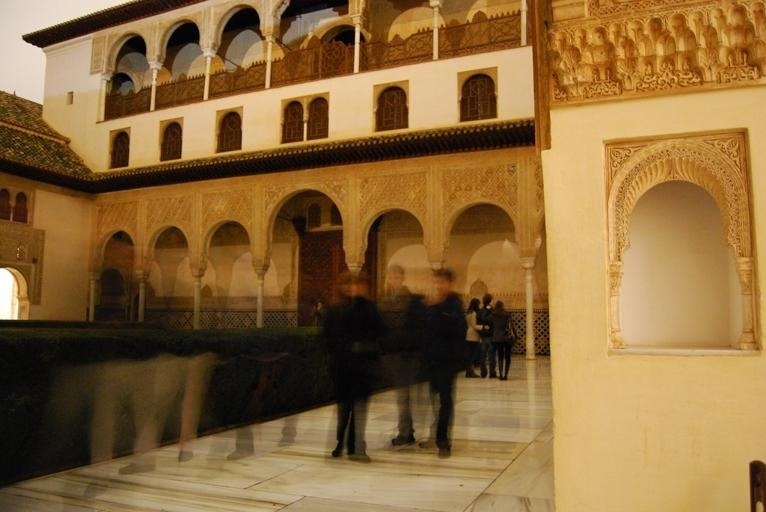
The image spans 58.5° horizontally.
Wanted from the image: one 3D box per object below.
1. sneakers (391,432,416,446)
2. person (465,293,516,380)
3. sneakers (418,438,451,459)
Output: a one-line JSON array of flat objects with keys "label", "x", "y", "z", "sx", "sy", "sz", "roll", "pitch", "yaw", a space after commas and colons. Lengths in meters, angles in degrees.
[{"label": "sneakers", "x": 0.190, "y": 1.796, "z": 6.733, "sx": 0.232, "sy": 0.165, "sz": 0.096, "roll": 15, "pitch": -21, "yaw": -22}, {"label": "person", "x": 1.775, "y": 1.306, "z": 11.227, "sx": 0.712, "sy": 1.228, "sz": 1.458, "roll": 0, "pitch": 0, "yaw": 10}, {"label": "sneakers", "x": 0.487, "y": 1.825, "z": 6.537, "sx": 0.322, "sy": 0.139, "sz": 0.111, "roll": 2, "pitch": -9, "yaw": 36}]
